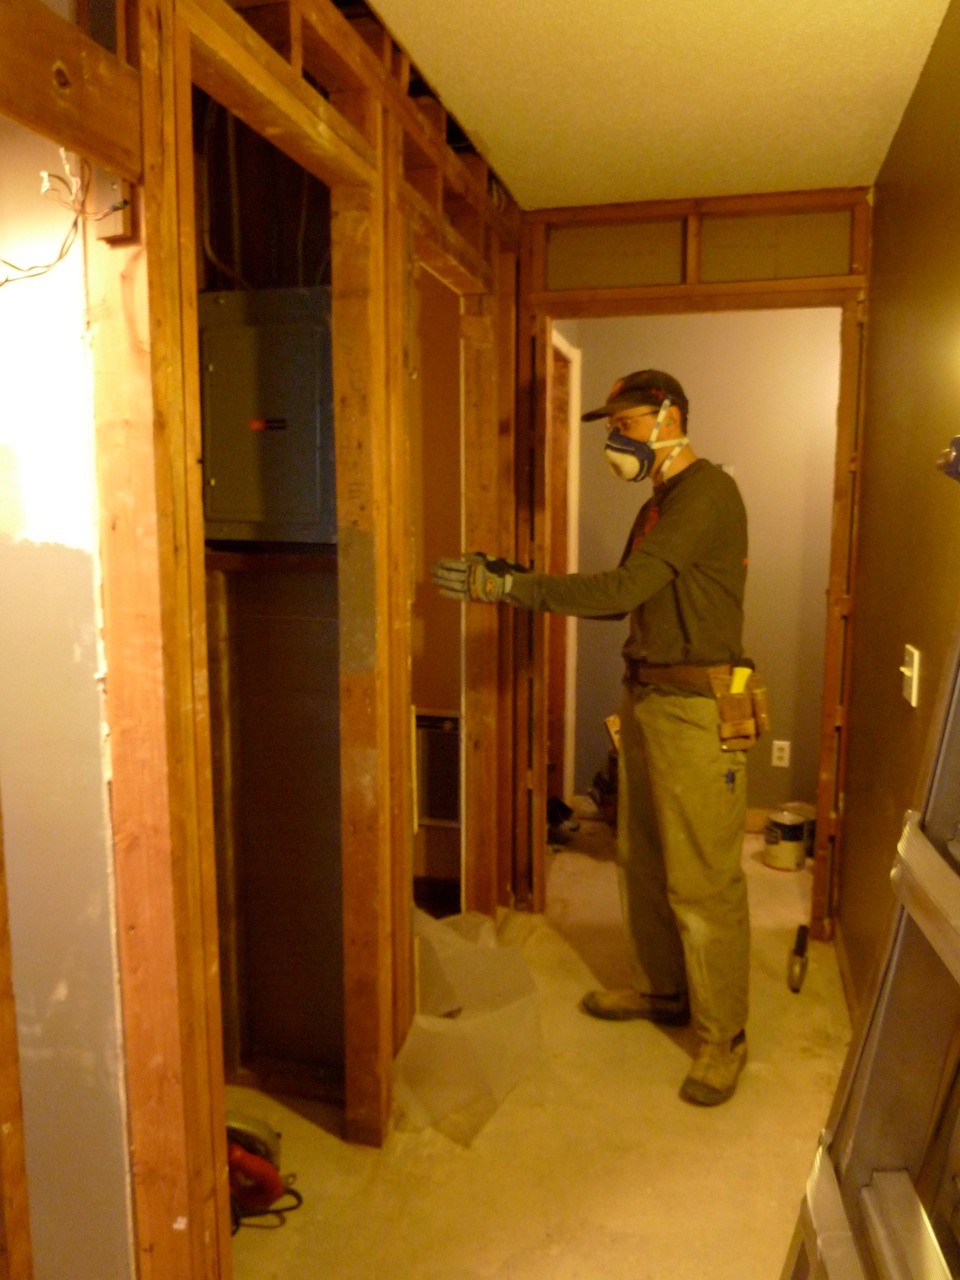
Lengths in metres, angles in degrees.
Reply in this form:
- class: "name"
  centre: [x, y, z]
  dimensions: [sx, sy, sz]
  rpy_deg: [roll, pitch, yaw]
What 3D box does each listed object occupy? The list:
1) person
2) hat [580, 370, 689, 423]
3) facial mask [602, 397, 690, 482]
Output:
- class: "person"
  centre: [0.288, 0.173, 2.860]
  dimensions: [0.725, 1.878, 0.620]
  rpy_deg: [-1, 3, -21]
- class: "hat"
  centre: [0.390, -0.601, 2.791]
  dimensions: [0.230, 0.119, 0.154]
  rpy_deg: [4, 4, 2]
- class: "facial mask"
  centre: [0.402, -0.500, 2.782]
  dimensions: [0.161, 0.194, 0.133]
  rpy_deg: [10, 13, 28]
